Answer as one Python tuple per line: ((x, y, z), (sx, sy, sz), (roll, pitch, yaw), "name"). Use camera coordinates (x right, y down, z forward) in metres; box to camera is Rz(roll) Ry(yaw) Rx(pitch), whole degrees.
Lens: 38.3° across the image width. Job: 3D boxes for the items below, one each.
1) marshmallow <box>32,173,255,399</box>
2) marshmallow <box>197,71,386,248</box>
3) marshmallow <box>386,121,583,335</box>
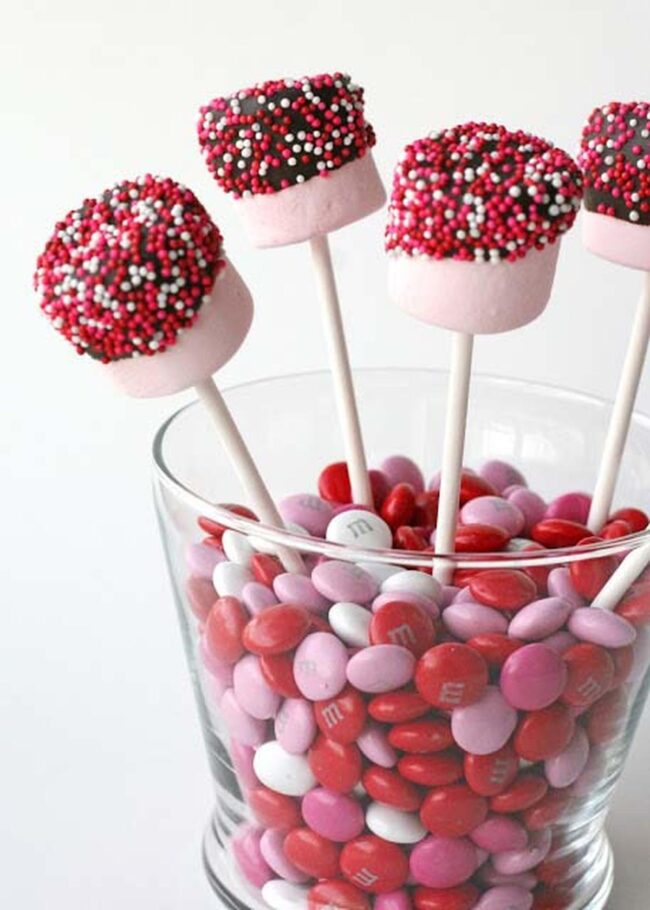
((-0.132, -0.120, 0.684), (0.128, 0.142, 0.119), (8, 42, 24), "marshmallow")
((-0.021, -0.233, 0.803), (0.158, 0.121, 0.145), (-22, 21, 4), "marshmallow")
((0.086, -0.178, 0.727), (0.165, 0.132, 0.153), (-2, 29, -5), "marshmallow")
